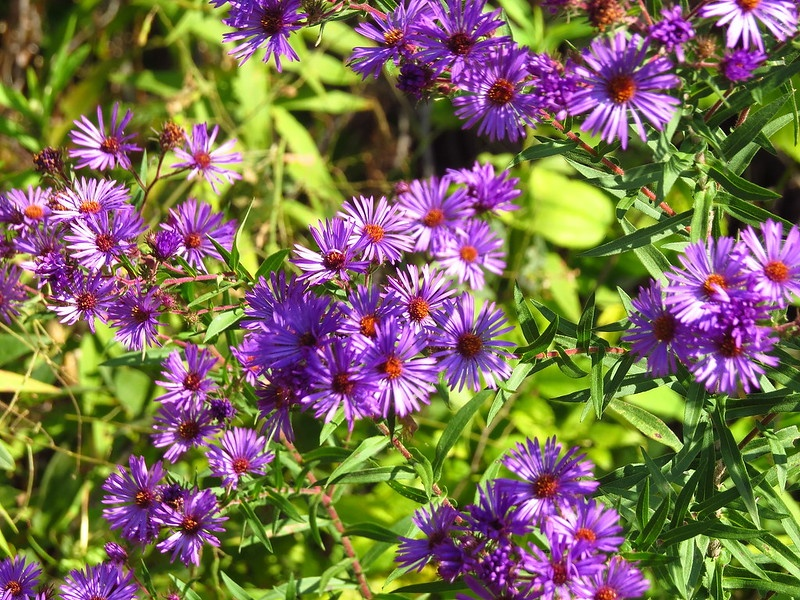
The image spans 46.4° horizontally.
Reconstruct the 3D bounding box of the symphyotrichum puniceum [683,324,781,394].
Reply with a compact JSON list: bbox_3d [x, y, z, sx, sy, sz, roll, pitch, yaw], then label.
[{"bbox_3d":[0.467,0.072,1.318,0.119,0.129,0.037,12,111,40],"label":"symphyotrichum puniceum"}]

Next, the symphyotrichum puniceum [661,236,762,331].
[{"bbox_3d":[0.438,-0.025,1.342,0.137,0.047,0.118,-9,72,-3],"label":"symphyotrichum puniceum"}]
